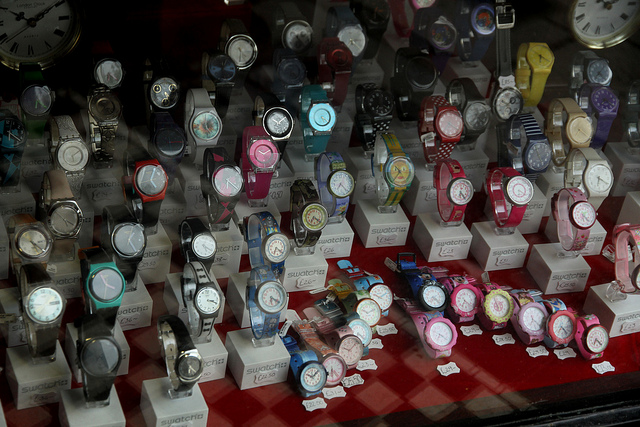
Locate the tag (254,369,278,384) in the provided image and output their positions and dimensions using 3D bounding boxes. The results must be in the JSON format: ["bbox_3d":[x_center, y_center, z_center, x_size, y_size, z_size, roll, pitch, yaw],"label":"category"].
[{"bbox_3d":[-0.492,1.453,4.610,0.159,0.024,0.119,-15,-46,-19],"label":"tag"}]

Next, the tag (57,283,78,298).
[{"bbox_3d":[-2.383,0.727,4.859,0.106,0.180,0.142,-18,16,-30],"label":"tag"}]

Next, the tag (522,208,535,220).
[{"bbox_3d":[2.466,0.009,6.028,0.107,0.174,0.113,18,-28,-9],"label":"tag"}]

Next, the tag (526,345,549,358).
[{"bbox_3d":[2.192,1.386,5.158,0.217,0.133,0.041,-13,-16,-20],"label":"tag"}]

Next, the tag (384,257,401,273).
[{"bbox_3d":[0.793,0.555,5.586,0.040,0.160,0.093,-48,-5,-9],"label":"tag"}]

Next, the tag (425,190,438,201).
[{"bbox_3d":[1.320,-0.217,6.043,0.114,0.190,0.093,-8,7,-23],"label":"tag"}]

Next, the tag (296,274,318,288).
[{"bbox_3d":[-0.127,0.702,5.333,0.216,0.095,0.112,-13,-17,-20],"label":"tag"}]

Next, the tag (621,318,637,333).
[{"bbox_3d":[3.251,1.170,5.405,0.146,0.022,0.113,-14,-51,-13],"label":"tag"}]

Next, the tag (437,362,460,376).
[{"bbox_3d":[1.223,1.475,4.883,0.206,0.118,0.061,-12,-16,-23],"label":"tag"}]

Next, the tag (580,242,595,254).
[{"bbox_3d":[3.058,0.384,5.865,0.096,0.161,0.097,14,-2,-38],"label":"tag"}]

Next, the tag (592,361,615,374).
[{"bbox_3d":[2.841,1.538,5.132,0.223,0.087,0.042,-14,-16,-19],"label":"tag"}]

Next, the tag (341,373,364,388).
[{"bbox_3d":[0.302,1.521,4.673,0.204,0.105,0.046,-11,-16,-26],"label":"tag"}]

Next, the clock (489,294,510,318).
[{"bbox_3d":[1.817,0.929,5.189,0.228,0.218,0.044,-11,-16,-21],"label":"clock"}]
